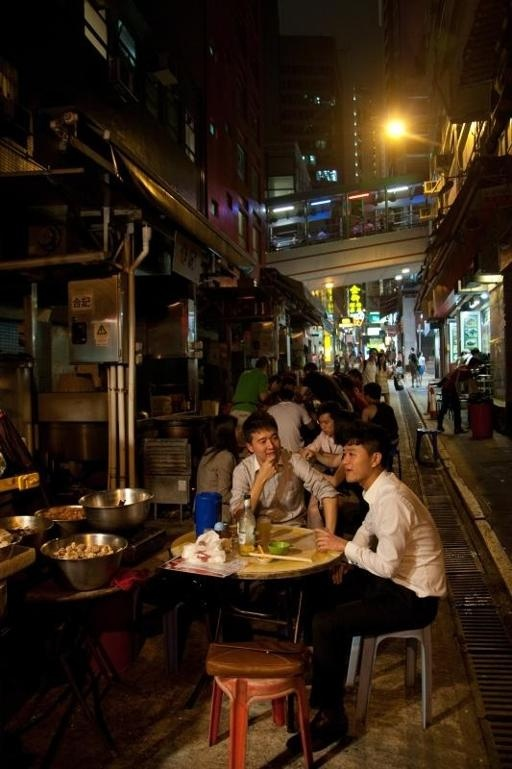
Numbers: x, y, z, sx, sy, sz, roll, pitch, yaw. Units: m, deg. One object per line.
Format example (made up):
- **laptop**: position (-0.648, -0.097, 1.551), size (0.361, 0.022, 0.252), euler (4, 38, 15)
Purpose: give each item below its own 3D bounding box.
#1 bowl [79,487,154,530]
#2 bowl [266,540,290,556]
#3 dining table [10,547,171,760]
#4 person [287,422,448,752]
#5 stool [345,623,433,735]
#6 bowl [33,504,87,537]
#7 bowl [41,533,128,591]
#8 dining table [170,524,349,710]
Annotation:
- **bowl**: position (-1.047, 0.931, 4.597), size (0.471, 0.253, 0.646), euler (-3, 1, 6)
- **bowl**: position (0.126, 0.936, 3.514), size (0.127, 0.057, 0.223), euler (-3, 1, 0)
- **dining table**: position (-1.040, 1.495, 3.626), size (0.711, 1.008, 1.281), euler (-3, 1, 7)
- **person**: position (0.646, 1.019, 3.560), size (0.816, 1.138, 1.088), euler (-3, 1, 10)
- **stool**: position (0.738, 1.584, 3.521), size (0.479, 0.546, 0.550), euler (-4, -15, 18)
- **bowl**: position (-1.384, 0.979, 4.541), size (0.240, 0.096, 0.256), euler (3, -2, 0)
- **bowl**: position (-0.995, 1.061, 3.670), size (0.445, 0.297, 0.503), euler (-3, 1, 25)
- **dining table**: position (-0.124, 1.301, 3.659), size (1.159, 0.760, 1.136), euler (15, -8, -30)
